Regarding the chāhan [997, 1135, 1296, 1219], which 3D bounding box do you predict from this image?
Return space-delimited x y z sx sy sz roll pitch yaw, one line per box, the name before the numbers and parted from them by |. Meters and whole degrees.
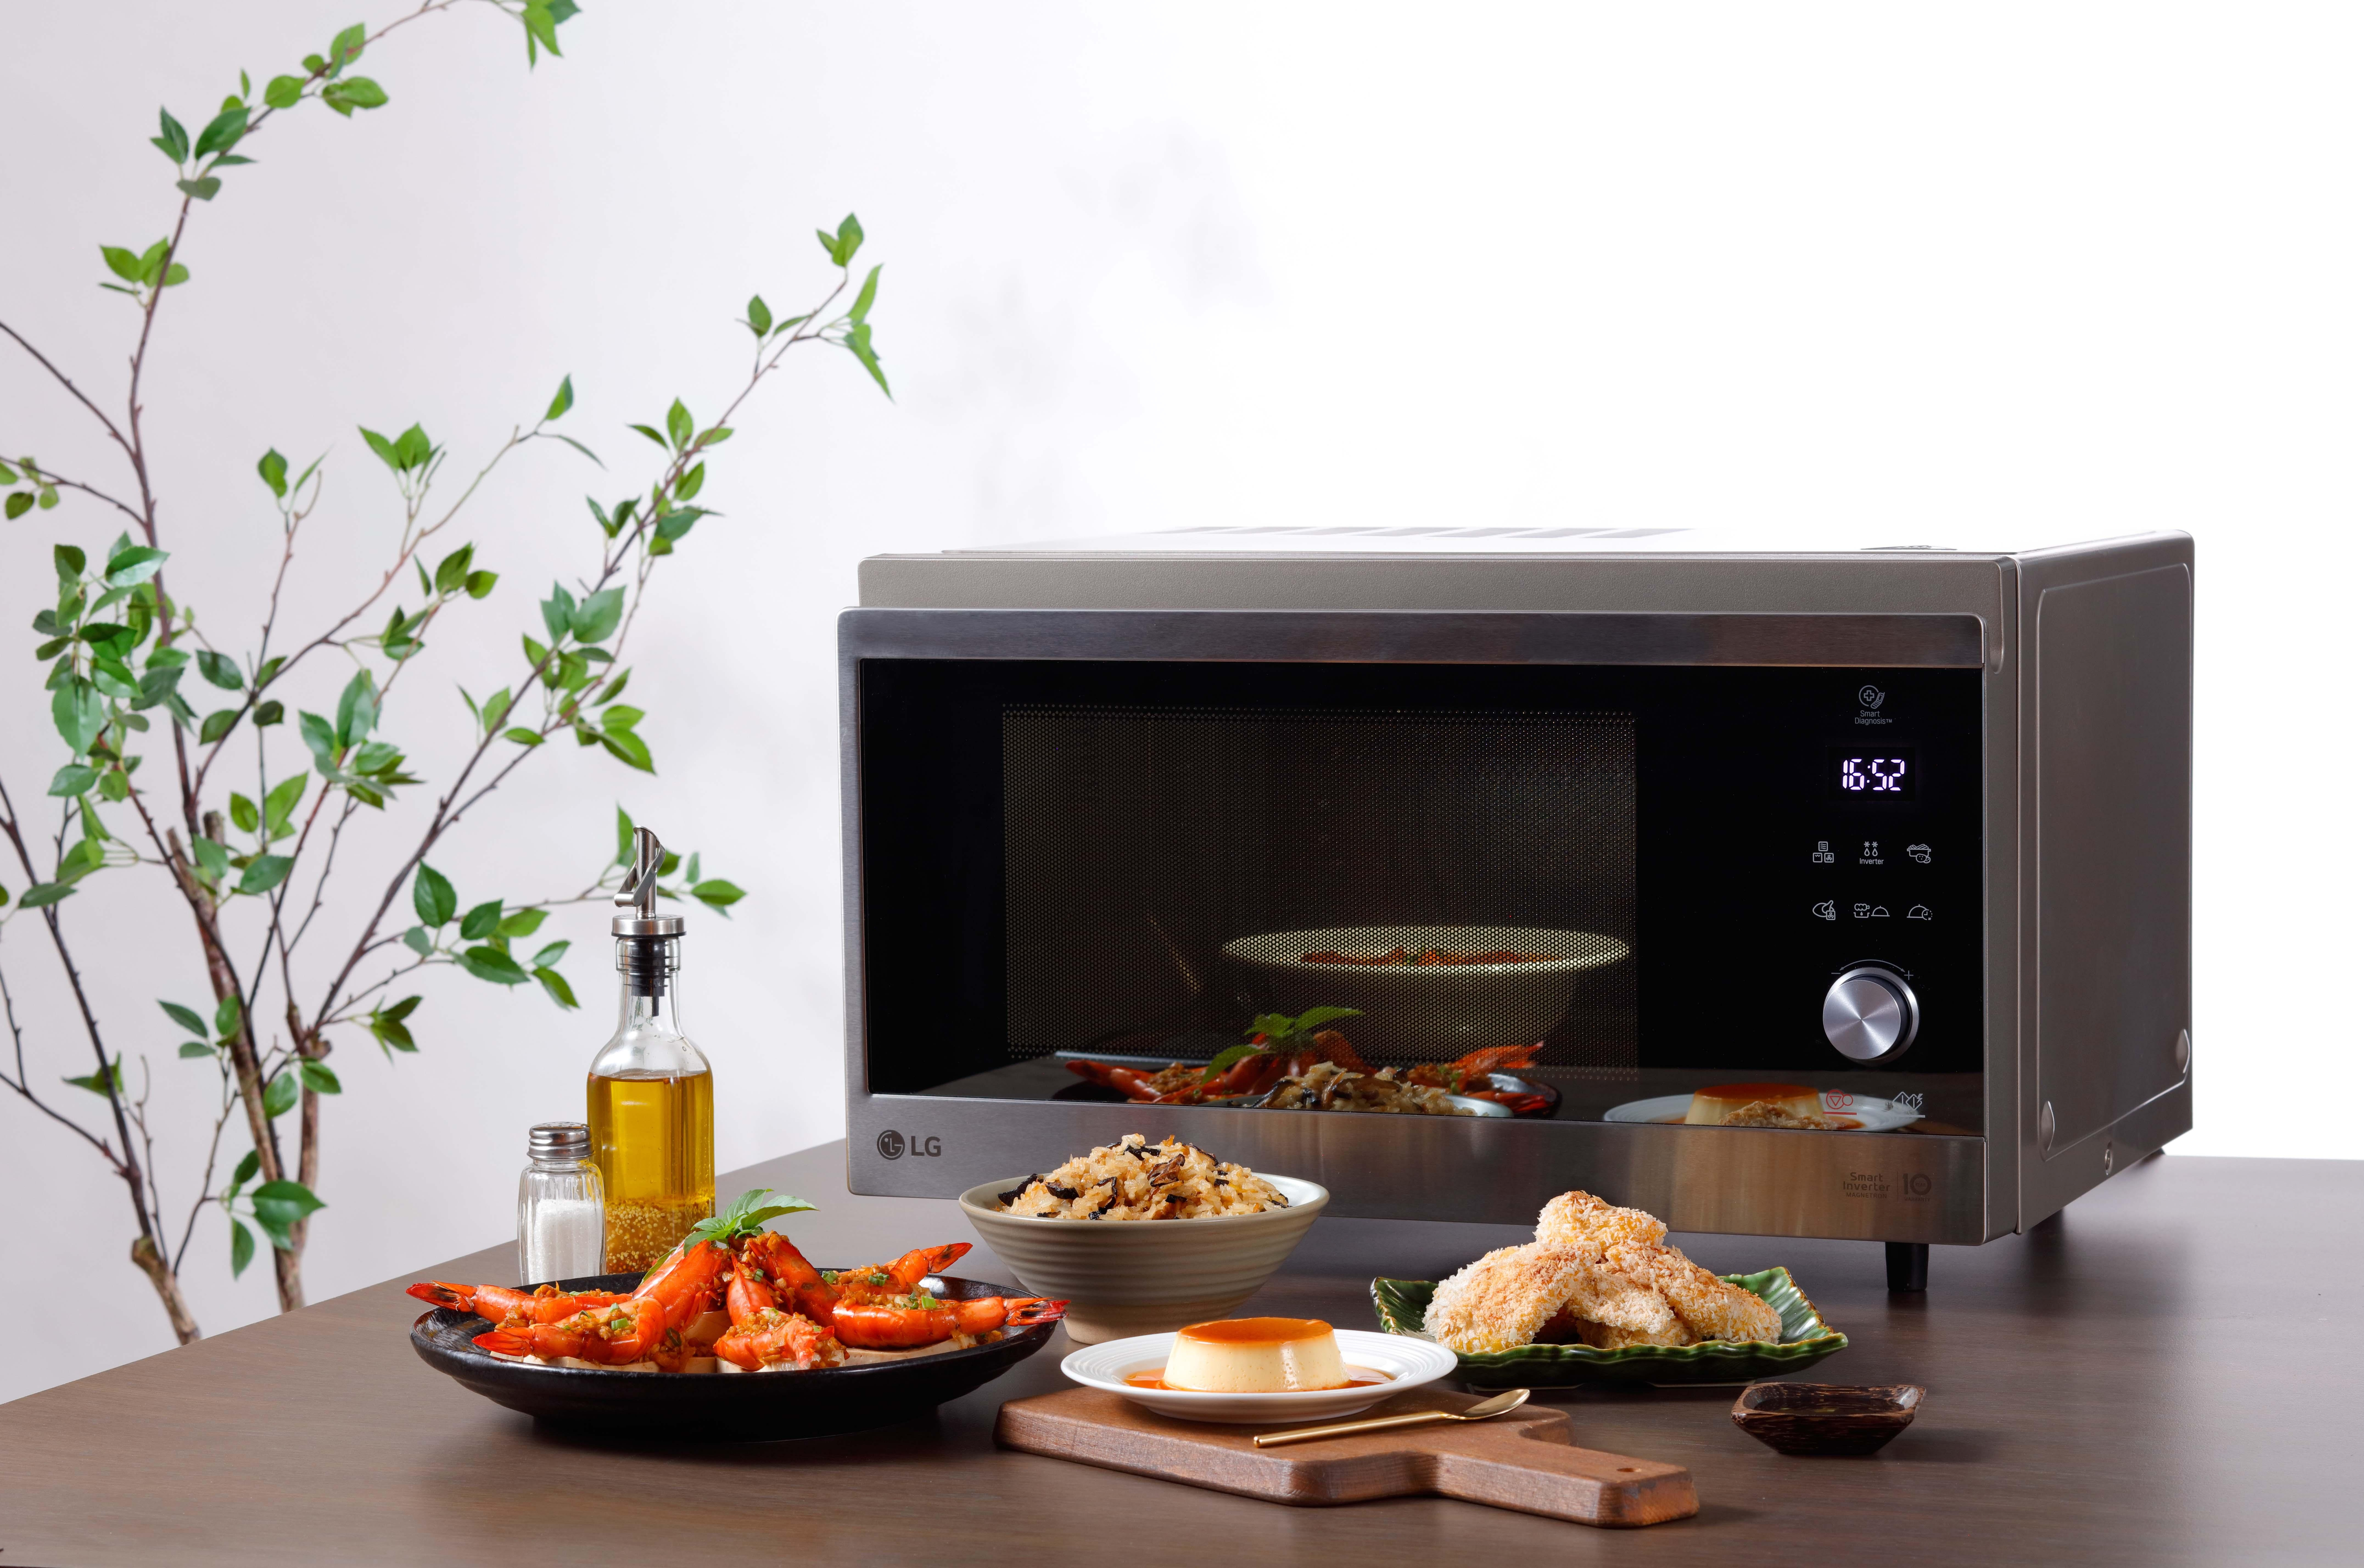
chāhan | -0.021 0.239 1.329 0.130 0.051 0.128 -5 -1 -15
